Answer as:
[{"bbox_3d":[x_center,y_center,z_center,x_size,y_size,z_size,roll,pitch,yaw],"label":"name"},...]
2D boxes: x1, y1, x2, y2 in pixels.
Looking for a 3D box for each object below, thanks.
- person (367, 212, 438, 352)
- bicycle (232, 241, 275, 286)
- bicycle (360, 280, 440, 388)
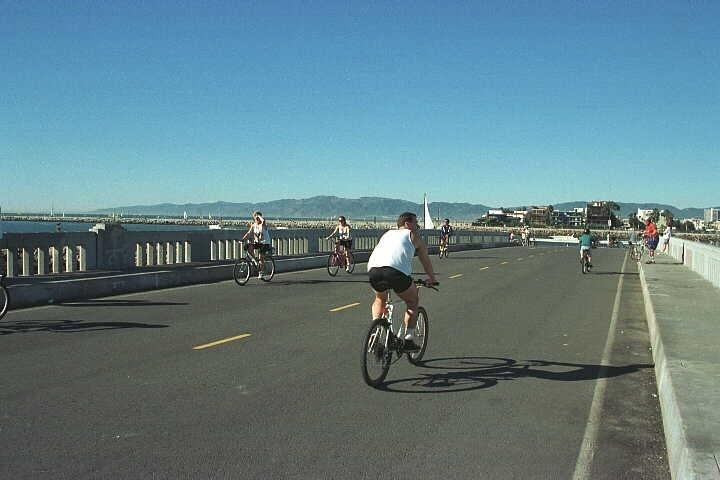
[{"bbox_3d":[0.634,0.675,10.534,1.004,2.194,1.143,1,5,4],"label":"person"},{"bbox_3d":[-3.586,0.830,22.734,0.822,1.167,1.798,-3,-4,29],"label":"bicycle"},{"bbox_3d":[0.427,1.598,10.711,0.847,1.193,1.827,6,8,27],"label":"bicycle"}]
